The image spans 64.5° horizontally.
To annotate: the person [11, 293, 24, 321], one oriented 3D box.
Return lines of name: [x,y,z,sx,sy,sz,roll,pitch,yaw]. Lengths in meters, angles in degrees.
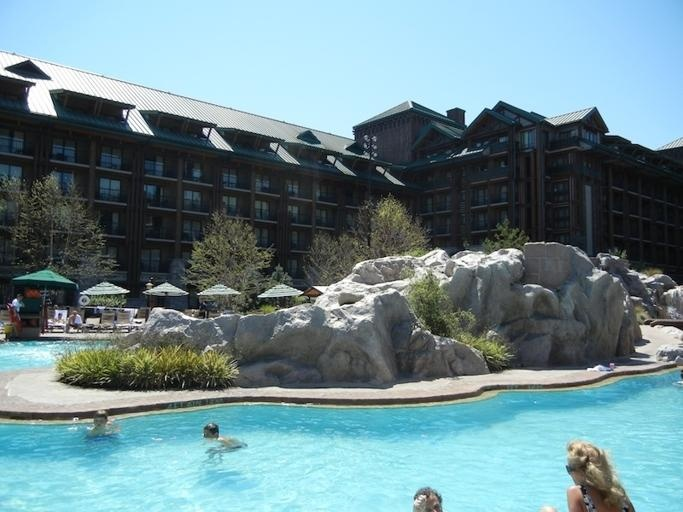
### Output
person: [-15.332,2.391,25.536,0.464,1.134,1.080,0,3,-28]

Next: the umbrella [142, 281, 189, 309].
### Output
umbrella: [-12.700,2.844,38.577,2.154,1.285,2.441,-7,-10,43]

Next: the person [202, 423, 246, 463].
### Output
person: [-2.359,3.674,10.766,0.873,0.625,0.550,12,-5,-19]

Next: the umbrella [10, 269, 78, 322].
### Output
umbrella: [-14.449,1.820,26.046,1.711,2.032,2.254,2,3,11]

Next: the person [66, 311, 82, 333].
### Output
person: [-14.296,3.562,28.830,0.830,1.207,0.651,2,-3,-31]
